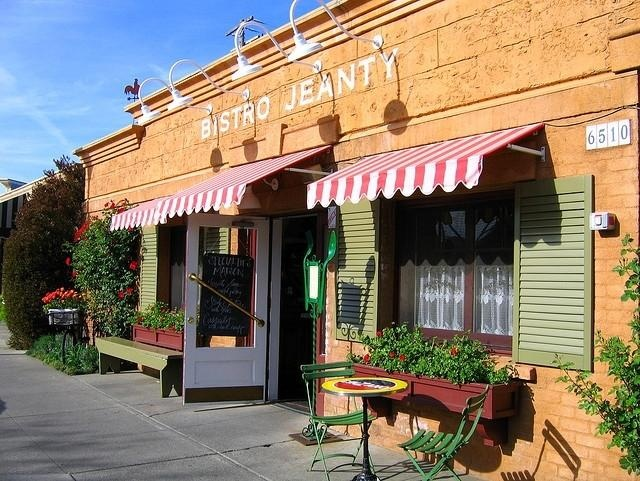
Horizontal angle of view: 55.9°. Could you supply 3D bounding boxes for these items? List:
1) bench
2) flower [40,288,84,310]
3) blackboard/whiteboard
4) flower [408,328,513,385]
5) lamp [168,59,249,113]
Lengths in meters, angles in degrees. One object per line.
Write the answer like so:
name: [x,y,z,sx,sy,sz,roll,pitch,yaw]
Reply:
bench: [-3.625,2.463,11.969,0.586,0.960,3.929,7,-10,-37]
flower: [-6.467,1.449,15.122,0.986,0.540,0.727,-3,-9,26]
blackboard/whiteboard: [-1.618,0.962,10.298,1.252,1.890,0.186,3,-5,-41]
flower: [1.666,1.427,7.188,0.761,0.275,0.607,2,7,39]
lamp: [-2.189,-2.988,11.476,1.794,0.947,0.596,-13,3,-33]
